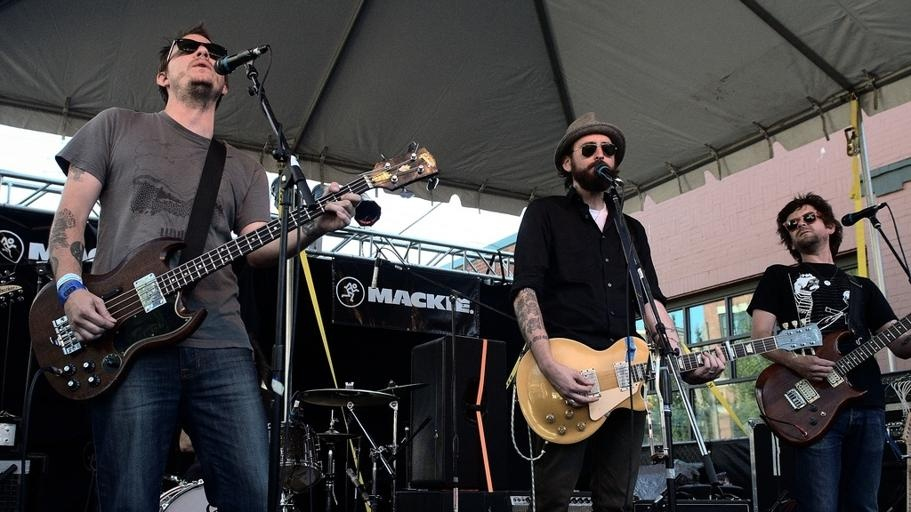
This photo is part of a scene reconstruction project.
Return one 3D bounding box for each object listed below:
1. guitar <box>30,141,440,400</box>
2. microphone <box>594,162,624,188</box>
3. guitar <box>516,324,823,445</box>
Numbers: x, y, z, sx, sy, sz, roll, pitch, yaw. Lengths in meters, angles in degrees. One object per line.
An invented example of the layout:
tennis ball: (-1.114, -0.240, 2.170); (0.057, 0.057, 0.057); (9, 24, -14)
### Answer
guitar: (-1.703, 0.176, 6.927); (4.108, 1.335, 0.469); (-24, -8, -10)
microphone: (1.349, -0.723, 6.947); (0.125, 0.124, 0.404); (18, 13, -13)
guitar: (1.698, 1.139, 6.845); (2.320, 0.917, 0.498); (1, -21, -9)
